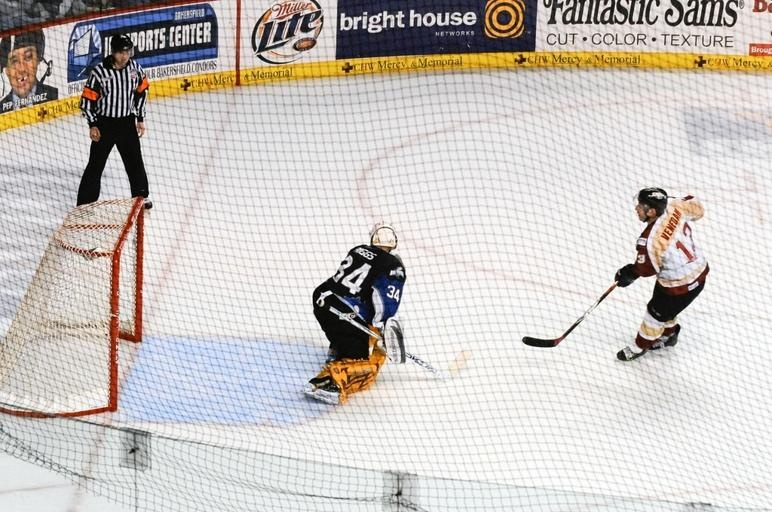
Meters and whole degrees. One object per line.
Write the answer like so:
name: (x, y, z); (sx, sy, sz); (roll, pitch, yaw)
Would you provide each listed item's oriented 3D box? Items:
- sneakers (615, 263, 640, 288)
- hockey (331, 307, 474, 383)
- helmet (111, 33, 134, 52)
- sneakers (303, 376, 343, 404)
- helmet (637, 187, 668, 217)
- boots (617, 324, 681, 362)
sneakers: (2.306, 0.192, 9.212); (0.102, 0.224, 0.172); (30, 25, -49)
hockey: (0.162, 0.739, 8.946); (1.313, 0.500, 0.184); (34, 45, -9)
helmet: (-2.842, -2.258, 10.317); (0.191, 0.174, 0.283); (-7, 21, -21)
sneakers: (-0.565, 1.225, 8.751); (0.291, 0.241, 0.124); (10, 39, 2)
helmet: (2.545, -0.501, 9.139); (0.275, 0.276, 0.228); (8, 14, 40)
boots: (2.559, 0.845, 9.331); (0.473, 0.187, 0.139); (-19, 49, -9)
